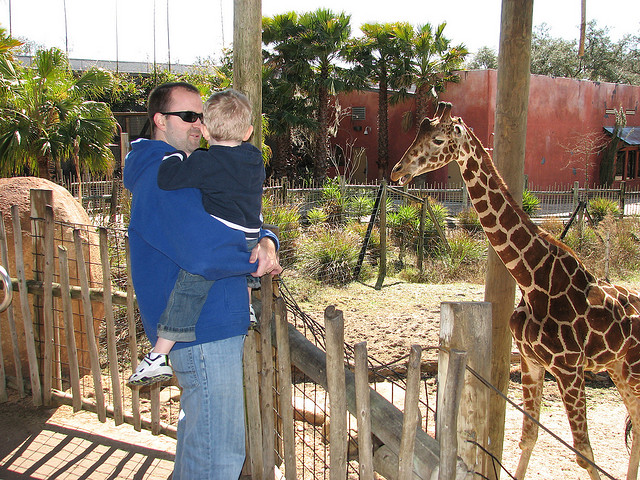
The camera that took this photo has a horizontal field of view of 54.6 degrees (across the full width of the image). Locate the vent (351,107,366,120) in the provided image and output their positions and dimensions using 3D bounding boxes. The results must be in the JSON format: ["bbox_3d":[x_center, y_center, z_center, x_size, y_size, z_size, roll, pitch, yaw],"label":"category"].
[{"bbox_3d":[1.696,-5.550,27.198,0.477,0.571,0.126,-2,5,-4],"label":"vent"}]

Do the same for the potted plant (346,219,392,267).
[{"bbox_3d":[0.983,0.062,12.709,0.721,0.999,0.546,0,-4,-5],"label":"potted plant"}]

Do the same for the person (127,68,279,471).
[{"bbox_3d":[-0.790,0.402,4.154,0.919,2.893,0.730,-2,8,-20],"label":"person"}]
